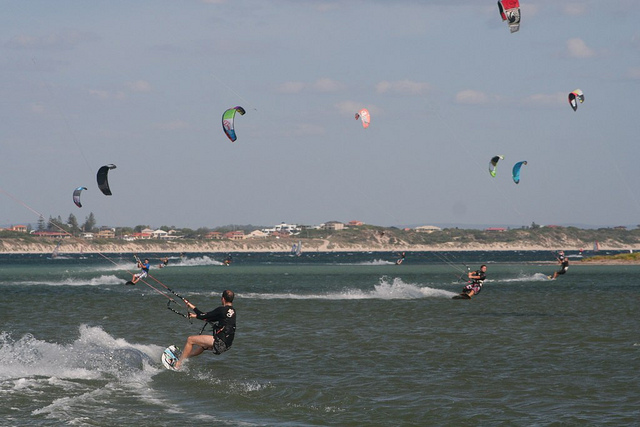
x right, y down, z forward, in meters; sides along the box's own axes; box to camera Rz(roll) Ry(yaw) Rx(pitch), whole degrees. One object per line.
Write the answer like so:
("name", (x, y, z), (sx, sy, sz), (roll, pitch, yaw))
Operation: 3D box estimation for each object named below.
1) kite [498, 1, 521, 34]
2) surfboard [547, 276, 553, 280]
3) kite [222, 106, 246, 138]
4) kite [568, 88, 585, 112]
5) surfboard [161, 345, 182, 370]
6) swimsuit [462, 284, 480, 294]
("kite", (8.182, -8.495, 44.003), (0.829, 1.269, 0.889), (4, 12, 17))
("surfboard", (15.215, 4.268, 67.456), (0.256, 0.296, 0.102), (-1, -5, -13))
("kite", (-3.867, -3.931, 44.643), (0.781, 1.458, 2.132), (-1, 11, -5))
("kite", (13.642, -6.066, 54.271), (0.599, 0.897, 0.830), (1, 12, 1))
("surfboard", (-5.004, 4.787, 33.943), (0.538, 0.726, 0.135), (7, -16, -18))
("swimsuit", (7.243, 3.606, 48.656), (0.855, 0.458, 1.160), (0, 0, 8))
